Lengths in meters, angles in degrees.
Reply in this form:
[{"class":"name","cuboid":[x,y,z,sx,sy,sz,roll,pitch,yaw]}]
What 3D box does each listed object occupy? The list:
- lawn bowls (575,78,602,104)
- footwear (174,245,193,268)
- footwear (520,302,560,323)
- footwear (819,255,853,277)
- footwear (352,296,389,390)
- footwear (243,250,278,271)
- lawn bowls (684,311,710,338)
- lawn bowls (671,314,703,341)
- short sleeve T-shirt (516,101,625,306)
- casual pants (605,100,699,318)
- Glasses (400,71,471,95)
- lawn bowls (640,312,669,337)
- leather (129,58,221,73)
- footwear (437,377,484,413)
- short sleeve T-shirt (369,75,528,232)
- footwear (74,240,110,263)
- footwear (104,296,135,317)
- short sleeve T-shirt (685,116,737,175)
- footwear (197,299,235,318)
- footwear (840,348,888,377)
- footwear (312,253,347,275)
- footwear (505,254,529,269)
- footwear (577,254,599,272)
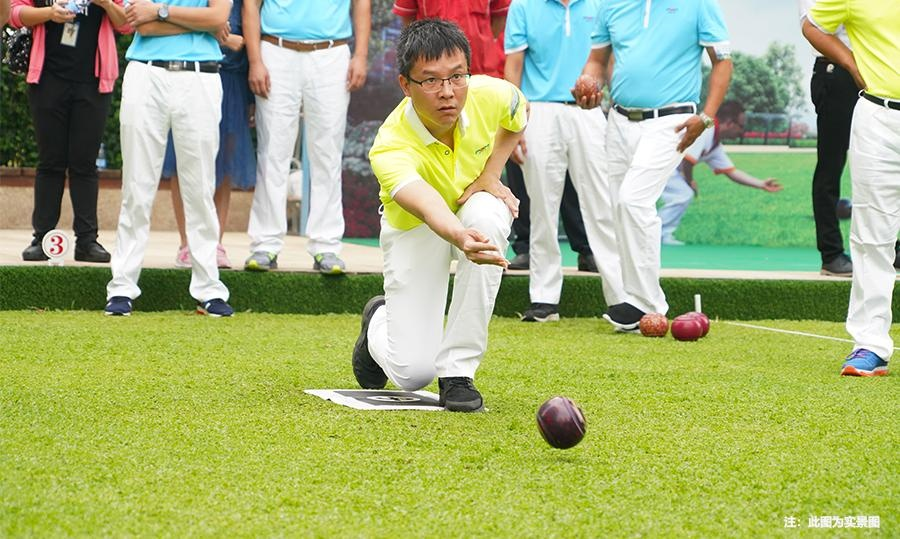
[{"class":"lawn bowls","cuboid":[0.892,-1.128,5.675,0.149,0.081,0.185,6,30,5]},{"class":"footwear","cuboid":[-1.883,-0.088,6.204,0.113,0.098,0.245,1,-2,-27]},{"class":"footwear","cuboid":[0.633,0.294,6.085,0.283,0.108,0.109,5,-3,-39]},{"class":"footwear","cuboid":[2.864,-0.024,6.535,0.150,0.135,0.300,6,-8,-37]},{"class":"footwear","cuboid":[-0.442,0.367,4.580,0.193,0.458,0.206,-4,17,-16]},{"class":"footwear","cuboid":[-1.311,-0.054,6.137,0.226,0.136,0.191,-2,14,-14]},{"class":"lawn bowls","cuboid":[1.607,0.345,5.615,0.168,0.148,0.155,-2,1,0]},{"class":"lawn bowls","cuboid":[1.480,0.361,5.520,0.166,0.142,0.153,2,14,0]},{"class":"short sleeve T-shirt","cuboid":[0.870,-0.465,6.187,0.734,1.513,0.434,-2,-21,5]},{"class":"casual pants","cuboid":[1.211,-0.375,5.704,0.485,1.232,0.395,6,15,16]},{"class":"Glasses","cuboid":[-0.051,-0.844,4.025,0.277,0.085,0.094,0,14,-5]},{"class":"lawn bowls","cuboid":[1.303,0.351,5.606,0.193,0.147,0.125,1,14,-4]},{"class":"leather","cuboid":[-1.741,-1.283,5.640,0.501,0.077,0.087,-2,15,-16]},{"class":"footwear","cuboid":[0.051,0.593,4.332,0.218,0.162,0.448,1,1,-8]},{"class":"short sleeve T-shirt","cuboid":[-0.028,-0.606,4.285,0.349,0.635,0.828,13,18,38]},{"class":"footwear","cuboid":[-2.557,-0.118,6.317,0.338,0.120,0.135,2,4,36]},{"class":"footwear","cuboid":[-2.159,0.238,5.774,0.119,0.103,0.266,2,-7,-21]},{"class":"short sleeve T-shirt","cuboid":[2.741,-1.227,9.069,0.657,0.249,0.732,-14,5,14]},{"class":"footwear","cuboid":[-1.547,0.255,5.863,0.231,0.083,0.104,-2,-4,29]},{"class":"footwear","cuboid":[2.243,0.507,4.837,0.293,0.118,0.119,7,-10,-25]},{"class":"footwear","cuboid":[-0.841,-0.036,6.148,0.225,0.141,0.150,6,15,15]},{"class":"footwear","cuboid":[0.549,-0.062,6.795,0.232,0.081,0.096,3,-3,-36]},{"class":"footwear","cuboid":[1.040,-0.045,6.687,0.089,0.080,0.172,-3,1,-32]}]
